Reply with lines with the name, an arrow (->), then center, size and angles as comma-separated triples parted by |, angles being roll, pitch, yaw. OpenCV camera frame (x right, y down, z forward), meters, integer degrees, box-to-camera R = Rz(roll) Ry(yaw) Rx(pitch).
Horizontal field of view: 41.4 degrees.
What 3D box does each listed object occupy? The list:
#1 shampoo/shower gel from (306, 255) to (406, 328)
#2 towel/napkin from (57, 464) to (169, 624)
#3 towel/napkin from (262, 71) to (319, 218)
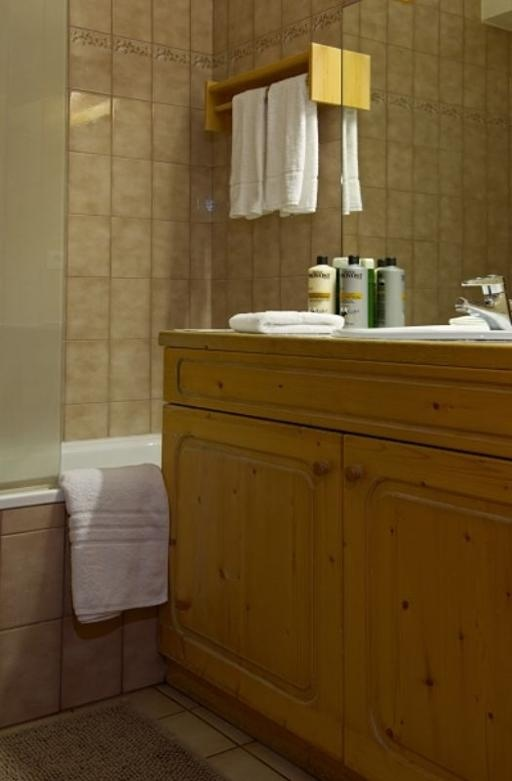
shampoo/shower gel -> 0.233, -0.222, 1.558 | 0.177, 0.201, 0.178 | 1, 6, 15
towel/napkin -> -0.288, 0.319, 1.433 | 0.215, 0.333, 0.096 | 3, -10, -29
towel/napkin -> 0.111, -0.799, 2.219 | 0.068, 0.445, 0.206 | 2, -1, -41
